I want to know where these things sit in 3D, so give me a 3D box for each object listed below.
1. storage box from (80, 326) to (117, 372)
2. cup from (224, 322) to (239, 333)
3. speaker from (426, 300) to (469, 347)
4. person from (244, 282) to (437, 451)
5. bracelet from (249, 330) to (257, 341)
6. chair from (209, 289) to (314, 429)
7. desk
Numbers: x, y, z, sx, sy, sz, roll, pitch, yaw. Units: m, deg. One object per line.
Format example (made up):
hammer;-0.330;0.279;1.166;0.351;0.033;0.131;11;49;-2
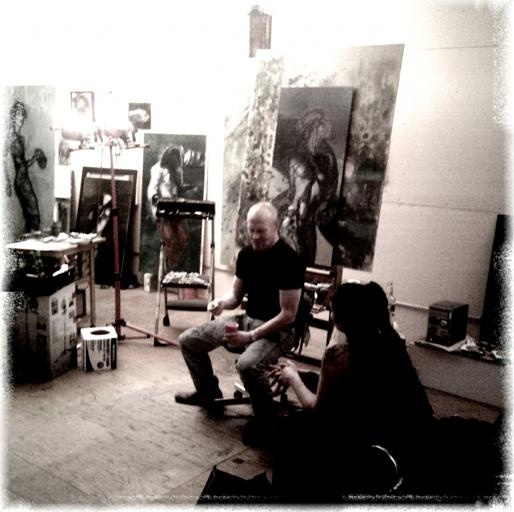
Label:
storage box;-1.337;0.748;4.023;0.283;0.370;0.311;-1;2;-22
cup;-0.162;0.453;3.064;0.081;0.061;0.162;2;9;-2
speaker;1.589;0.539;4.010;0.272;0.436;0.361;3;7;43
person;0.404;0.431;2.033;0.677;0.648;0.239;9;11;39
bracelet;-0.028;0.519;3.024;0.031;0.062;0.049;0;4;-4
chair;0.014;0.708;3.579;0.675;1.327;0.773;9;-10;-32
desk;-1.844;0.323;4.490;0.680;1.092;0.976;-5;12;-30
